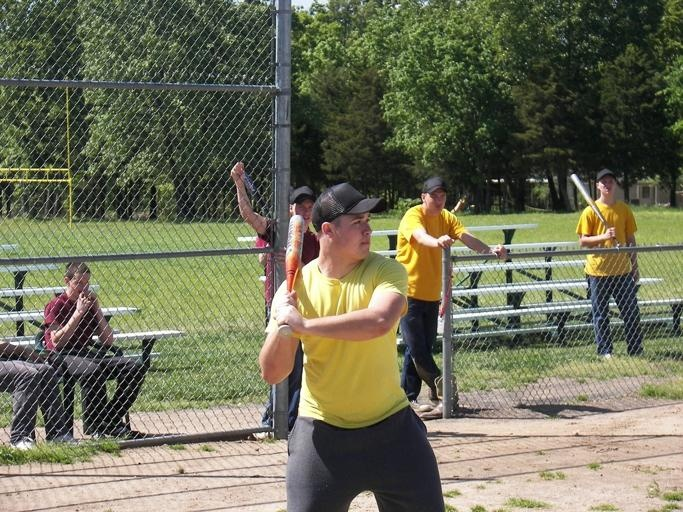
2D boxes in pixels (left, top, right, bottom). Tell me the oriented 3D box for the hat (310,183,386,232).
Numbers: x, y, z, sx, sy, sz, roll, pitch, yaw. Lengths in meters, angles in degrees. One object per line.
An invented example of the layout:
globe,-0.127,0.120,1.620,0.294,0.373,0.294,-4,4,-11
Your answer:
hat,0.020,-0.513,9.981,0.705,0.397,0.469,-20,-8,13

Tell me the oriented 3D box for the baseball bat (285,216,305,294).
baseball bat,-0.467,-0.085,9.918,0.120,0.899,0.117,-12,-29,44

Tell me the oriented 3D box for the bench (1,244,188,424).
bench,-3.366,1.041,13.157,1.879,2.919,1.920,-4,-4,33

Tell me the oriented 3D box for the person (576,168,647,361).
person,3.981,0.091,15.487,0.982,2.666,1.046,2,11,14
